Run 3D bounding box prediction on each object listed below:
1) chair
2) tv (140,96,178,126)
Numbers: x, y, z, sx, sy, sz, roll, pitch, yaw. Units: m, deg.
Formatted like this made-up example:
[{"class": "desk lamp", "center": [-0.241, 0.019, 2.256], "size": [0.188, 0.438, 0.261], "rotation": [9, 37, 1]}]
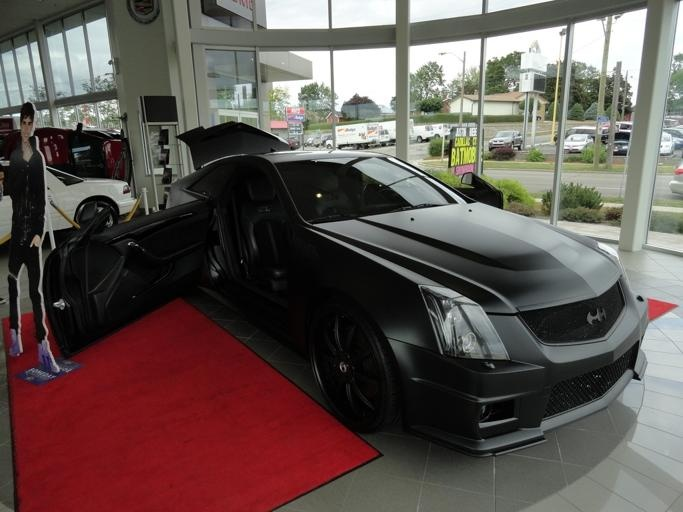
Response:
[{"class": "chair", "center": [-0.357, -0.263, 3.130], "size": [0.592, 1.015, 0.842], "rotation": [-18, 40, -27]}, {"class": "tv", "center": [-3.609, -2.881, 7.732], "size": [0.600, 0.541, 0.311], "rotation": [-7, 9, -22]}]
